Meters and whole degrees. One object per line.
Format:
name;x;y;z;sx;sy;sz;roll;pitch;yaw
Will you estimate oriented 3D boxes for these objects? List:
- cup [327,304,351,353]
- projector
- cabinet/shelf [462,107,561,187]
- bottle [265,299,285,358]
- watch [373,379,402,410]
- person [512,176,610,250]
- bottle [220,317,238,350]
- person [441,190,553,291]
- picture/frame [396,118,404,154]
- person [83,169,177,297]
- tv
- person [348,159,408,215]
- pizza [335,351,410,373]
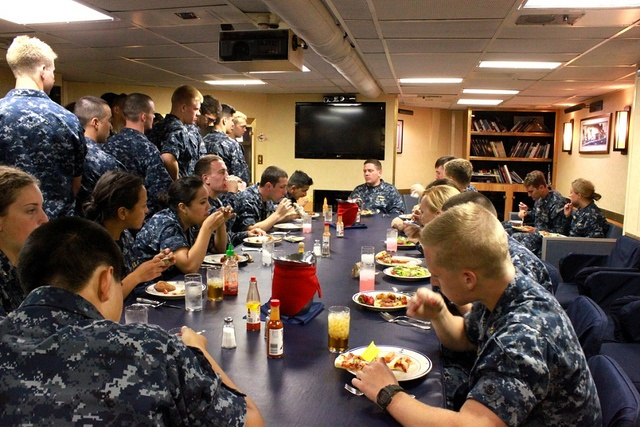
cup;0.090;0.551;2.171;0.095;0.209;0.073;2;6;-3
projector;-0.563;-1.657;4.838;0.582;0.242;0.427;1;2;13
cabinet/shelf;4.120;-1.401;9.754;2.100;1.901;0.680;1;-4;5
bottle;-0.203;0.522;2.137;0.071;0.271;0.118;2;6;-6
watch;0.259;0.737;1.846;0.083;0.104;0.109;36;25;-7
person;3.248;0.012;6.396;1.194;0.890;0.744;7;13;31
bottle;-0.429;0.573;2.189;0.096;0.128;0.094;3;-1;0
person;1.260;0.159;3.096;0.313;0.377;0.954;8;28;-5
picture/frame;1.754;-1.726;10.173;0.091;0.853;0.749;2;8;22
person;-1.266;0.291;3.000;0.583;1.021;0.423;-2;10;-41
tv;0.474;-1.698;8.920;1.599;0.965;0.156;2;13;8
person;0.832;-0.353;6.947;0.884;0.885;0.557;7;15;30
pizza;0.238;0.656;2.034;0.207;0.038;0.135;1;0;-3
